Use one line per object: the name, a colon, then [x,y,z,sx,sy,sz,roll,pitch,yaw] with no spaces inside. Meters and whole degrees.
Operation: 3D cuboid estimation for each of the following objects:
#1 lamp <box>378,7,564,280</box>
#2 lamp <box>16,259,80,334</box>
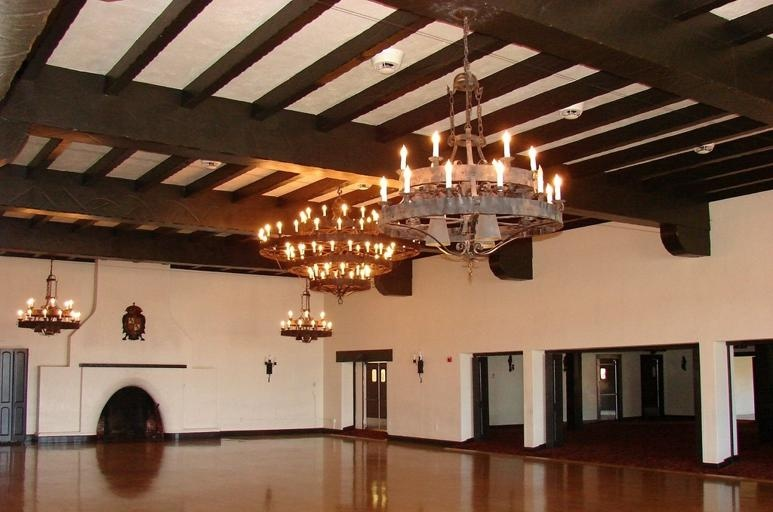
lamp: [0.901,-1.042,6.871,1.647,2.507,2.632,-2,-11,13]
lamp: [-7.930,0.909,16.137,1.471,1.949,2.933,6,-12,-27]
